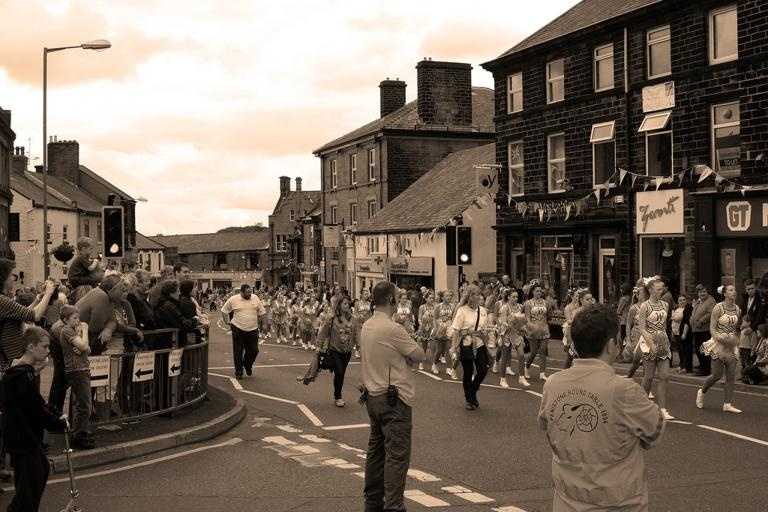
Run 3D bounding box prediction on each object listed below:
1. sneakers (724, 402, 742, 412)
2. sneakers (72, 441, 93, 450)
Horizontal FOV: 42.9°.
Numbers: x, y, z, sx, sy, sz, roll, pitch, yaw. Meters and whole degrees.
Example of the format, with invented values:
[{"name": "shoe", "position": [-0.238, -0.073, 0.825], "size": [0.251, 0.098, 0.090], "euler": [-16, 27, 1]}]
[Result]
[{"name": "sneakers", "position": [7.590, 3.247, 20.994], "size": [0.444, 0.206, 0.159], "euler": [1, 2, 2]}, {"name": "sneakers", "position": [-5.538, 3.449, 17.939], "size": [0.410, 0.170, 0.155], "euler": [0, 0, 9]}]
